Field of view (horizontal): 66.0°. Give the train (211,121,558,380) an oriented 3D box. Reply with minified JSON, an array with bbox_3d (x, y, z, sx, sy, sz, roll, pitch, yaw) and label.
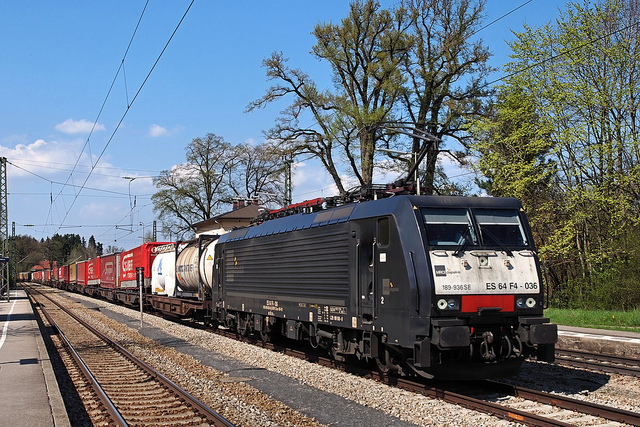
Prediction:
[{"bbox_3d":[0.969,1.699,18.216,5.133,6.643,15.548,2,-4,-25],"label":"train"}]
